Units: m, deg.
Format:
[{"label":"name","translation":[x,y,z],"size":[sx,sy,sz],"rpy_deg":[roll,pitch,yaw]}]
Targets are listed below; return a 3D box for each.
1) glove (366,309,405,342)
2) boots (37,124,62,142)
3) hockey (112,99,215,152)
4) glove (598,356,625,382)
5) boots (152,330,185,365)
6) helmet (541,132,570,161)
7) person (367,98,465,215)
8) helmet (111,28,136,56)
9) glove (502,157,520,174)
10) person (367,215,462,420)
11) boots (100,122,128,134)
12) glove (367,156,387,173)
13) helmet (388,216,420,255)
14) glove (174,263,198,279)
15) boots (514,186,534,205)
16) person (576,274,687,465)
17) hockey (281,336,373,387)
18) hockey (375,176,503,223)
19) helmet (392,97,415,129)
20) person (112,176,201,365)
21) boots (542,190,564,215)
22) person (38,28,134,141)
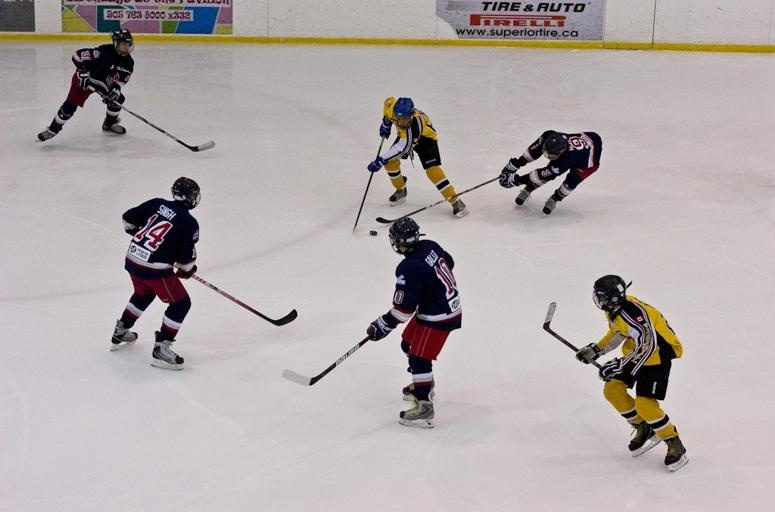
[{"label":"glove","translation":[-0.023,0.561,6.242],"size":[0.126,0.409,0.139],"rpy_deg":[11,52,-52]},{"label":"boots","translation":[-4.222,-1.530,9.841],"size":[0.323,0.136,0.149],"rpy_deg":[-25,-15,-6]},{"label":"hockey","translation":[-2.953,-1.684,10.324],"size":[1.859,0.209,0.247],"rpy_deg":[24,24,11]},{"label":"glove","translation":[1.662,0.848,5.911],"size":[0.180,0.078,0.174],"rpy_deg":[-29,24,-16]},{"label":"boots","translation":[-1.824,0.800,6.597],"size":[0.334,0.271,0.124],"rpy_deg":[7,10,29]},{"label":"helmet","translation":[1.740,-1.114,8.188],"size":[0.220,0.277,0.245],"rpy_deg":[36,12,9]},{"label":"person","translation":[0.380,-1.086,8.570],"size":[1.066,1.207,0.726],"rpy_deg":[7,14,5]},{"label":"helmet","translation":[-3.171,-2.615,9.599],"size":[0.297,0.309,0.327],"rpy_deg":[-22,44,-33]},{"label":"glove","translation":[1.348,-0.956,8.559],"size":[0.132,0.210,0.107],"rpy_deg":[42,14,34]},{"label":"person","translation":[0.214,0.497,6.222],"size":[0.678,1.542,0.613],"rpy_deg":[9,15,13]},{"label":"boots","translation":[-3.538,-1.661,10.209],"size":[0.290,0.136,0.136],"rpy_deg":[1,48,-4]},{"label":"glove","translation":[-0.108,-0.950,8.356],"size":[0.082,0.194,0.145],"rpy_deg":[46,5,-26]},{"label":"helmet","translation":[0.159,-0.177,6.277],"size":[0.258,0.267,0.280],"rpy_deg":[-8,23,-14]},{"label":"glove","translation":[-1.704,0.140,6.679],"size":[0.151,0.049,0.111],"rpy_deg":[7,14,33]},{"label":"boots","translation":[1.493,-0.652,8.723],"size":[0.104,0.259,0.102],"rpy_deg":[41,14,1]},{"label":"person","translation":[1.931,0.841,6.017],"size":[0.936,1.335,0.525],"rpy_deg":[12,16,23]},{"label":"hockey","translation":[-0.514,0.825,6.451],"size":[0.672,0.508,0.367],"rpy_deg":[4,14,-5]},{"label":"hockey","translation":[0.600,-0.610,8.747],"size":[1.689,0.186,0.179],"rpy_deg":[-17,38,11]},{"label":"helmet","translation":[0.184,-1.545,8.319],"size":[0.244,0.281,0.292],"rpy_deg":[3,58,4]},{"label":"person","translation":[-1.961,0.129,6.613],"size":[0.686,1.561,0.514],"rpy_deg":[5,15,-3]},{"label":"boots","translation":[1.796,-0.585,8.552],"size":[0.128,0.352,0.146],"rpy_deg":[38,17,9]},{"label":"person","translation":[-3.657,-2.081,9.693],"size":[0.950,1.387,0.625],"rpy_deg":[0,16,-20]}]
